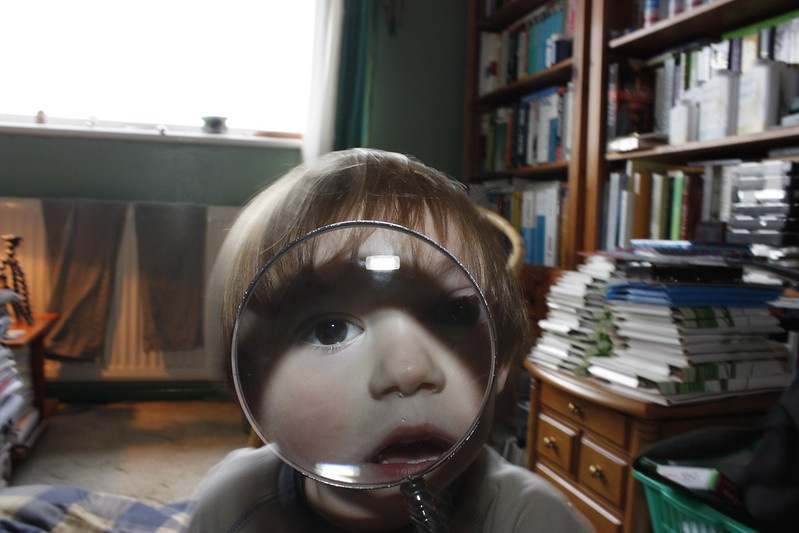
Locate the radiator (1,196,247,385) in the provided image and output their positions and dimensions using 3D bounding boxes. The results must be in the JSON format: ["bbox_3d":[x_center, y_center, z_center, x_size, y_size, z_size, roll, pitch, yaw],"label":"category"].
[{"bbox_3d":[-1.064,0.074,2.493,0.743,0.459,0.076,2,2,5],"label":"radiator"}]

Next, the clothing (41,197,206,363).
[{"bbox_3d":[-1.153,0.056,2.775,0.661,0.657,0.062,3,-8,-40],"label":"clothing"}]

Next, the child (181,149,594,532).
[{"bbox_3d":[-0.072,0.163,1.651,0.722,0.896,0.807,-4,-2,-27],"label":"child"}]
